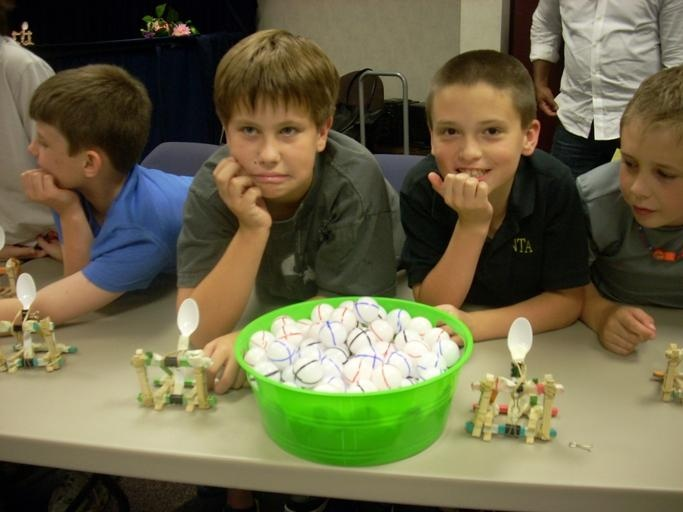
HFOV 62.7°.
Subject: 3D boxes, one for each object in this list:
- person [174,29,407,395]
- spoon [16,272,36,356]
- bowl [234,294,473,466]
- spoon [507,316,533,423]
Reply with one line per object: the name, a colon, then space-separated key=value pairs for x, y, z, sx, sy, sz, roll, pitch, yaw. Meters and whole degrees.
person: x=-0.141 y=-0.222 z=1.444 sx=0.522 sy=0.905 sz=0.858 roll=4 pitch=28 yaw=9
spoon: x=-0.672 y=0.130 z=1.202 sx=0.030 sy=0.173 sz=0.030 roll=-7 pitch=-20 yaw=5
bowl: x=0.042 y=0.269 z=1.056 sx=0.344 sy=0.135 sz=0.355 roll=-3 pitch=5 yaw=0
spoon: x=0.310 y=0.198 z=0.990 sx=0.035 sy=0.191 sz=0.032 roll=2 pitch=-19 yaw=18
